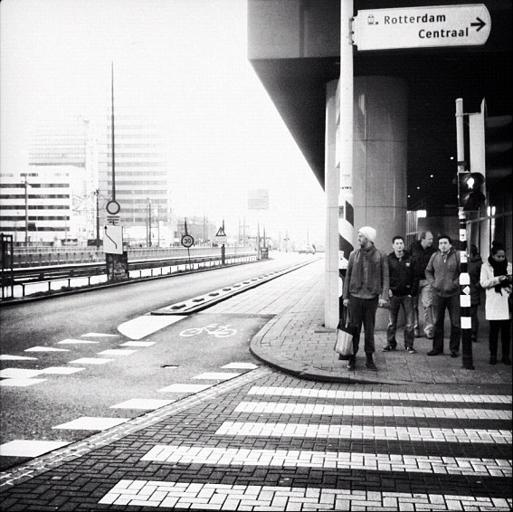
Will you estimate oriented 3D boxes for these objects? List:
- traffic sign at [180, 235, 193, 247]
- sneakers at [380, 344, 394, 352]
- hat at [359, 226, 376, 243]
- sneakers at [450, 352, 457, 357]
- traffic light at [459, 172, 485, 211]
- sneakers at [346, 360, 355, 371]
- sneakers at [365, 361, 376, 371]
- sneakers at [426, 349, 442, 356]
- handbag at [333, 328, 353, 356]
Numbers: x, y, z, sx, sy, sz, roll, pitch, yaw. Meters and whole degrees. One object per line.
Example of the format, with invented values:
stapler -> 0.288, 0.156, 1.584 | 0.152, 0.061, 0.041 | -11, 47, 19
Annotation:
traffic sign -> -3.672, -0.784, 38.066 | 0.579, 0.662, 1.305 | -2, 2, -11
sneakers -> 2.193, 1.545, 11.947 | 0.249, 0.116, 0.090 | 6, -6, -42
hat -> 1.638, -0.303, 10.665 | 0.262, 0.274, 0.222 | 0, 6, 24
sneakers -> 3.146, 1.573, 11.383 | 0.109, 0.069, 0.203 | -1, 3, 17
traffic light -> 3.106, -0.944, 10.342 | 0.358, 0.577, 0.383 | -1, 2, 16
sneakers -> 1.364, 1.605, 10.430 | 0.093, 0.142, 0.300 | 0, -5, 7
sneakers -> 1.668, 1.589, 10.397 | 0.151, 0.127, 0.232 | -1, 2, 9
sneakers -> 2.856, 1.560, 11.550 | 0.269, 0.141, 0.098 | 3, -3, -15
handbag -> 1.259, 1.255, 10.237 | 0.258, 0.449, 0.321 | -1, 2, 7
